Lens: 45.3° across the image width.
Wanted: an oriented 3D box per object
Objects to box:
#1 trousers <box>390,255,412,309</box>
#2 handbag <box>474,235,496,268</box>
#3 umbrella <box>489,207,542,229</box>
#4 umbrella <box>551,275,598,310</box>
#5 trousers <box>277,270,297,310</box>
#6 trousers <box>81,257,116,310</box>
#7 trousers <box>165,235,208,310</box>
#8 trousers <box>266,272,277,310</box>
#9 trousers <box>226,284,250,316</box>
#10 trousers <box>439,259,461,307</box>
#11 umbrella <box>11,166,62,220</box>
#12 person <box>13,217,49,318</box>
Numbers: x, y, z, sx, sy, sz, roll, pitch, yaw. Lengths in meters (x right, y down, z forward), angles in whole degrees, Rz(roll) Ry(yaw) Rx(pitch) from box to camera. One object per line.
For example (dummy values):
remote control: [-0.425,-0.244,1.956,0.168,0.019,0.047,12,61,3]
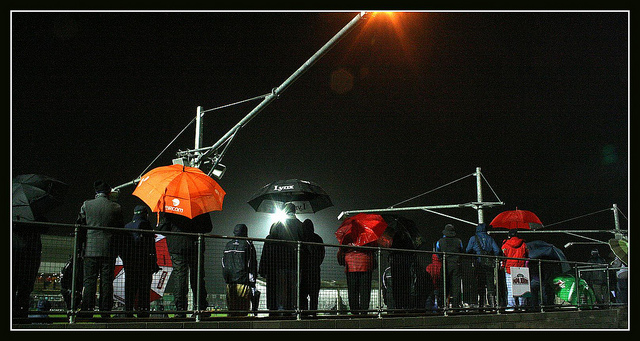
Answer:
trousers: [3.753,5.030,34.737,1.259,2.465,0.234,-7,-11,39]
handbag: [7.903,4.143,36.236,0.711,0.873,0.997,4,-30,-4]
umbrella: [11.861,2.955,46.301,1.846,0.714,1.633,-2,-1,-13]
umbrella: [12.431,6.154,38.638,2.506,1.509,1.652,4,-13,-15]
trousers: [-1.438,5.170,33.443,0.854,1.631,0.500,2,13,-6]
trousers: [-9.250,4.699,32.110,1.305,2.150,0.705,1,13,-12]
trousers: [-5.646,4.300,32.653,1.640,3.029,1.021,1,13,-12]
trousers: [-2.113,5.210,33.327,0.523,1.570,0.426,2,13,-6]
trousers: [-3.553,5.423,33.068,1.024,0.997,0.646,2,12,-5]
trousers: [5.945,5.158,35.183,1.129,2.180,0.592,-3,15,-27]
umbrella: [-12.521,0.898,33.748,1.885,2.236,1.421,0,13,-17]
person: [-12.074,4.082,31.758,1.216,3.934,0.996,0,13,-16]
